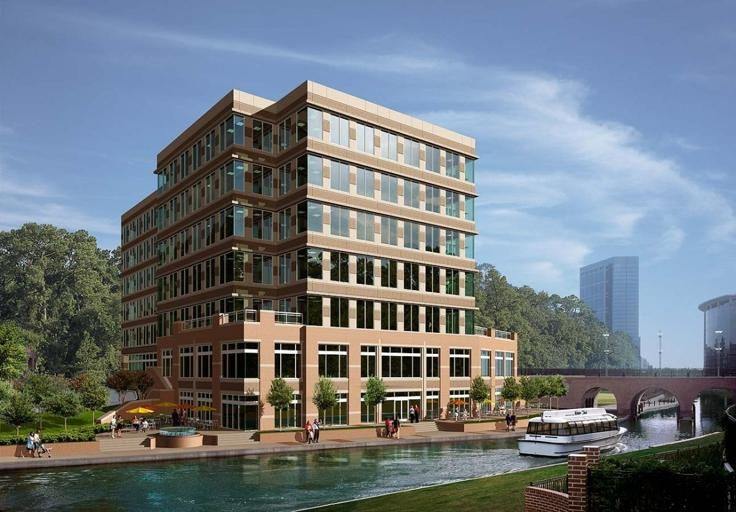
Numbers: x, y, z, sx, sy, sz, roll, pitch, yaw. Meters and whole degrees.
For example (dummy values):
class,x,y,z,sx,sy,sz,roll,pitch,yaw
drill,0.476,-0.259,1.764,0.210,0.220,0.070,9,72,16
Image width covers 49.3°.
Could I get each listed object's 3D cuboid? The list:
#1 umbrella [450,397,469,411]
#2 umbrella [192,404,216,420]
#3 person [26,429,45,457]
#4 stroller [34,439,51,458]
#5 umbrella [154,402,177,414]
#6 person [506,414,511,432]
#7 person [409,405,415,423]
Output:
class,x,y,z,sx,sy,sz,roll,pitch,yaw
umbrella,10.470,16.559,90.925,2.129,1.369,2.074,6,-10,-7
umbrella,-16.500,15.703,80.931,2.209,1.441,2.173,-5,-18,18
person,-26.141,14.773,62.918,1.246,1.836,0.569,5,-5,-21
stroller,-25.743,15.268,63.248,0.939,0.933,1.545,-8,-15,-16
umbrella,-21.880,16.252,86.052,2.494,1.075,2.468,-5,-17,16
person,14.866,17.503,84.802,0.538,1.640,1.439,2,-5,9
person,4.731,16.720,84.547,0.641,1.350,1.046,3,-5,5
